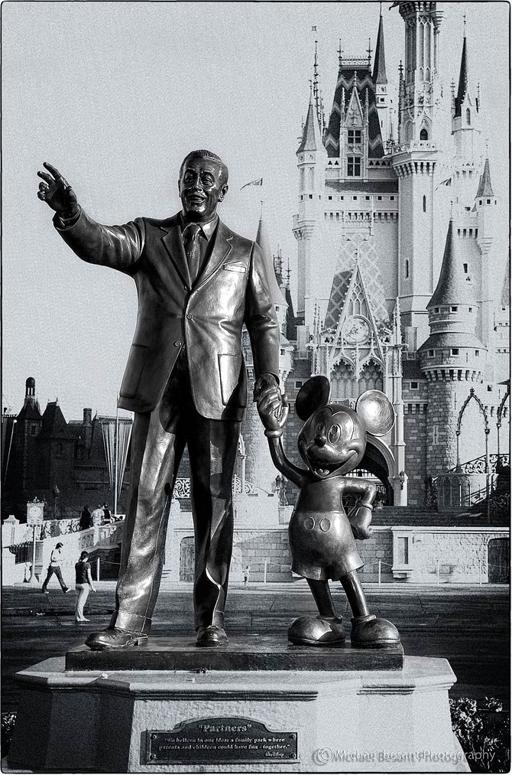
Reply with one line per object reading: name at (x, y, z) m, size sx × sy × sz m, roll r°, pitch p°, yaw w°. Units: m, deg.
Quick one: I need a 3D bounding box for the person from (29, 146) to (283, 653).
person at (-0.292, 0.033, 5.443) m, size 0.813 × 1.488 × 0.470 m, roll -3°, pitch -1°, yaw -7°
